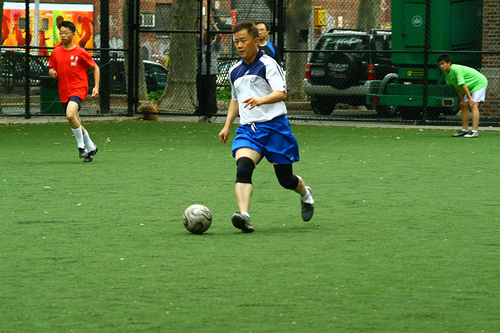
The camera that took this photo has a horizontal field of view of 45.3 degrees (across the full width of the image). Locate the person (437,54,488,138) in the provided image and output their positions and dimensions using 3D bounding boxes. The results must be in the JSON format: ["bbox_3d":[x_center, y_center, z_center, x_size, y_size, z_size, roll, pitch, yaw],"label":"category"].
[{"bbox_3d":[4.715,-1.537,13.224,0.726,1.831,1.328,5,10,39],"label":"person"}]

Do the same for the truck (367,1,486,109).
[{"bbox_3d":[4.363,-3.066,16.430,2.105,2.821,4.093,3,12,25],"label":"truck"}]

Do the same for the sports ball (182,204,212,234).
[{"bbox_3d":[-0.554,0.513,5.842,0.279,0.266,0.273,-4,-2,0],"label":"sports ball"}]

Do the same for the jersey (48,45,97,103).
[{"bbox_3d":[-3.097,-1.621,10.468,0.754,0.998,0.487,-3,8,-18],"label":"jersey"}]

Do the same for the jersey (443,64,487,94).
[{"bbox_3d":[4.707,-1.957,13.218,0.865,0.630,0.638,-3,-3,-10],"label":"jersey"}]

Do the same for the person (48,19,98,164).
[{"bbox_3d":[-3.052,-1.297,10.358,0.585,2.372,0.864,-5,9,-30],"label":"person"}]

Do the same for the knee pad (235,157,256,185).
[{"bbox_3d":[-0.048,0.046,5.839,0.204,0.243,0.167,12,9,34],"label":"knee pad"}]

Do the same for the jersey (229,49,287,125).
[{"bbox_3d":[0.099,-0.805,6.106,0.453,0.685,0.817,-14,12,-41],"label":"jersey"}]

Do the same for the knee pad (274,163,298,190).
[{"bbox_3d":[0.374,0.101,6.066,0.247,0.271,0.139,-2,8,-8],"label":"knee pad"}]

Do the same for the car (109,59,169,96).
[{"bbox_3d":[-3.321,-3.005,19.213,2.468,1.277,1.340,-7,11,-27],"label":"car"}]
